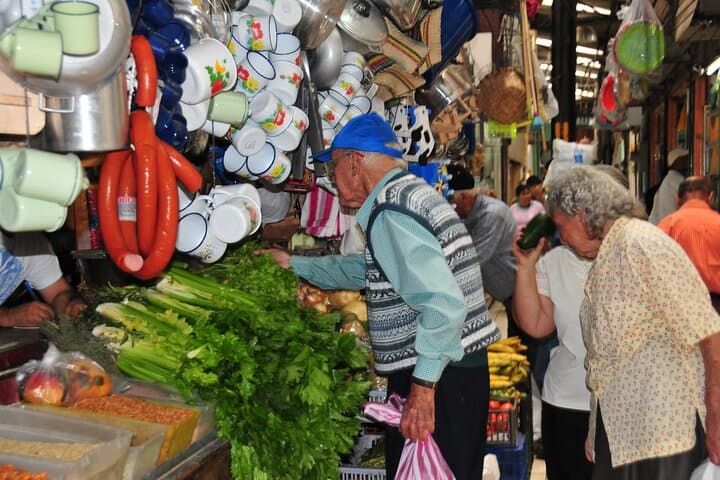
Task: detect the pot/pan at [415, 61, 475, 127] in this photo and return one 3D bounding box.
[{"bbox_3d":[0.644,-1.074,4.899,0.298,0.442,0.335,-34,-16,-3],"label":"pot/pan"}]

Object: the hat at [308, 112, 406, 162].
[{"bbox_3d":[0.015,-0.493,3.175,0.302,0.184,0.211,10,7,5],"label":"hat"}]

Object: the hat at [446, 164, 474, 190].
[{"bbox_3d":[0.789,-0.475,5.179,0.177,0.195,0.182,8,1,5],"label":"hat"}]

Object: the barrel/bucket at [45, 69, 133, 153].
[{"bbox_3d":[-0.947,-0.466,2.457,0.268,0.353,0.289,-1,-3,0],"label":"barrel/bucket"}]
